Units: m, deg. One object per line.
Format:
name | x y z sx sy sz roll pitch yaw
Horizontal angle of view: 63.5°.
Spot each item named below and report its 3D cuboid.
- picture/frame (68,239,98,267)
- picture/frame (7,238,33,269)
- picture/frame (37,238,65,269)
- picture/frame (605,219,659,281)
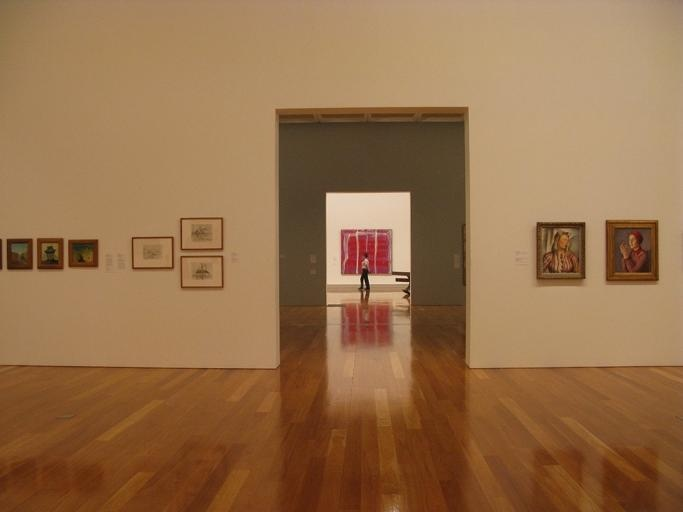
picture/frame | -5.067 -0.061 10.898 0.438 0.536 0.035 0 -1 -4
picture/frame | -6.351 -0.040 10.966 0.485 0.742 0.050 -1 -4 -6
picture/frame | -5.724 -0.054 10.931 0.501 0.746 0.049 0 -2 -8
picture/frame | 5.586 -0.083 10.581 0.947 1.507 0.105 0 -1 2
